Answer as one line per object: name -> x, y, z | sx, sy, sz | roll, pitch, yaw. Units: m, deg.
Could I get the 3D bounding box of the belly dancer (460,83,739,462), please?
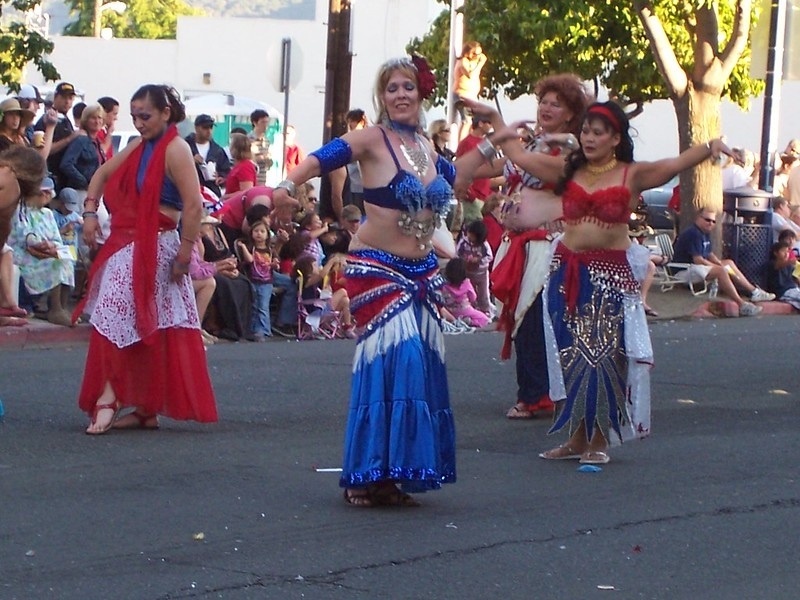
belly dancer -> 1.357, -0.223, 7.604 | 1.511, 2.463, 1.601 | 9, 16, 16

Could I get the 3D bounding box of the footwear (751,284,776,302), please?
footwear -> 5.733, -0.106, 17.131 | 0.519, 0.243, 0.182 | -7, 19, -21

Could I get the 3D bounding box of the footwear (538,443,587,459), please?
footwear -> 1.093, 1.021, 7.297 | 0.279, 0.076, 0.110 | 1, -3, 5

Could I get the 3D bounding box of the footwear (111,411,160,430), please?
footwear -> -1.884, 0.876, 7.816 | 0.302, 0.132, 0.121 | 7, 1, -10

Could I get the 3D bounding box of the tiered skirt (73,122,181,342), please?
tiered skirt -> -1.854, -0.575, 7.620 | 0.401, 2.008, 1.391 | 2, 1, -41

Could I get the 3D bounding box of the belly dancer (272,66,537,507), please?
belly dancer -> 0.024, -0.062, 6.273 | 0.950, 2.588, 1.167 | 3, 3, 38

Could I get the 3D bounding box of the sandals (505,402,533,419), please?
sandals -> 0.950, 0.891, 8.658 | 0.194, 0.071, 0.107 | 6, -3, -34

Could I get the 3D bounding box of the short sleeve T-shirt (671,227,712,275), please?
short sleeve T-shirt -> 4.414, -0.836, 16.820 | 0.431, 0.585, 0.642 | 2, -1, 11

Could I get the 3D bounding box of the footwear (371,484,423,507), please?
footwear -> -0.026, 1.115, 6.176 | 0.322, 0.130, 0.110 | 0, 2, -2

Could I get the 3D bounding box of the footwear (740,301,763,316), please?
footwear -> 5.294, 0.130, 16.496 | 0.411, 0.190, 0.147 | -3, 25, -2

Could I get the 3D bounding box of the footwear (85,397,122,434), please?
footwear -> -2.077, 0.815, 7.629 | 0.185, 0.213, 0.344 | 1, 7, 17

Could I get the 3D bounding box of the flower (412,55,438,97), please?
flower -> 0.147, -1.287, 6.227 | 0.096, 0.216, 0.181 | -19, -7, 16

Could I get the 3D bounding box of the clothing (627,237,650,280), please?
clothing -> 1.574, -0.271, 7.132 | 0.165, 0.230, 0.082 | 3, 17, 29

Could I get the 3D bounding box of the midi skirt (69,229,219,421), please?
midi skirt -> -1.766, 0.285, 7.779 | 0.885, 1.438, 0.836 | -14, 24, -42

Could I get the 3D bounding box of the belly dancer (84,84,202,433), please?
belly dancer -> -1.822, -0.256, 7.719 | 0.920, 2.416, 0.940 | 15, 22, 39
